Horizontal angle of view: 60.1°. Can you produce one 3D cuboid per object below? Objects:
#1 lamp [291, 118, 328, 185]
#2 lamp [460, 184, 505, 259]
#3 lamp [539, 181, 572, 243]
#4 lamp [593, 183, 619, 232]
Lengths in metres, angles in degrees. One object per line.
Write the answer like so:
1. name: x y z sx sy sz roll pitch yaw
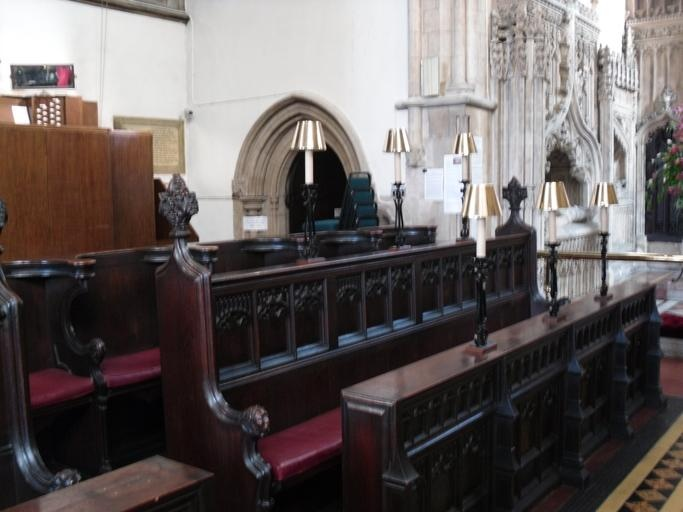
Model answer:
1. lamp: -0.254 -0.831 4.712 0.258 0.498 0.685 -3 10 -3
2. lamp: 0.863 -0.206 3.646 0.203 0.464 0.232 0 1 -6
3. lamp: 1.544 -0.303 4.311 0.202 0.462 0.204 1 2 37
4. lamp: 2.237 -0.406 5.061 0.187 0.448 0.196 -4 6 -32
